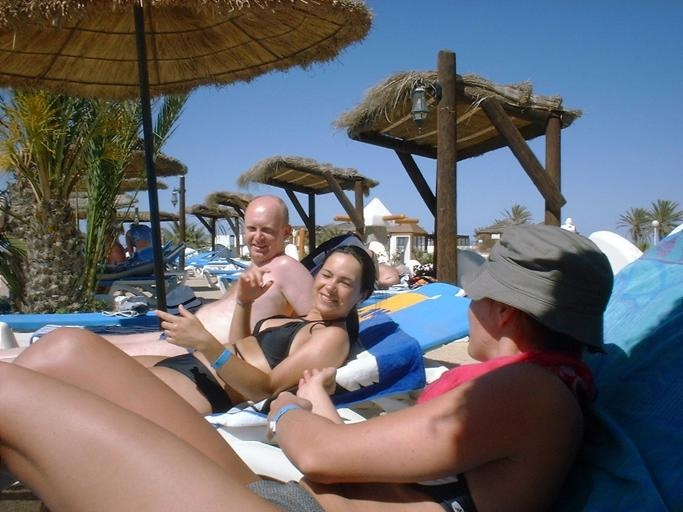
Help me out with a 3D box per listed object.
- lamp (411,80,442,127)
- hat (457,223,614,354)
[{"bbox_3d":[0.943,-1.774,7.002,0.325,0.543,0.253,-3,10,-5],"label":"lamp"},{"bbox_3d":[0.659,0.054,2.195,0.531,0.321,0.429,27,17,34],"label":"hat"}]
